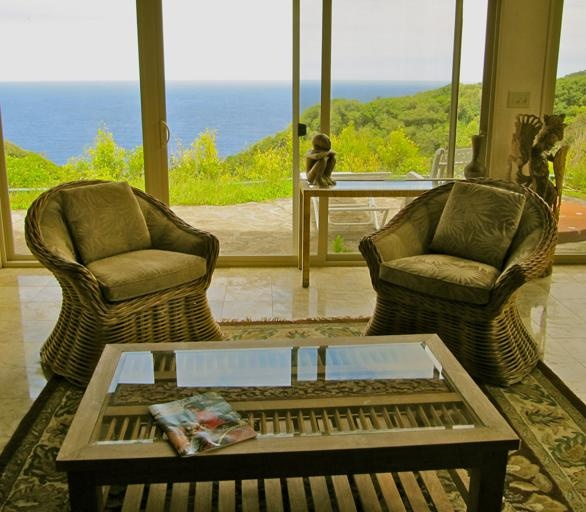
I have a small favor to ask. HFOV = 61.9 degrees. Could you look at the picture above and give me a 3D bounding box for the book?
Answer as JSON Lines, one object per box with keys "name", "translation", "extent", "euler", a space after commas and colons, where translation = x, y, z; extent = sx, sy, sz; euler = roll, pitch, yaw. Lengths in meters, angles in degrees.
{"name": "book", "translation": [-0.276, 0.491, 1.446], "extent": [0.232, 0.024, 0.297], "euler": [-11, 18, -37]}
